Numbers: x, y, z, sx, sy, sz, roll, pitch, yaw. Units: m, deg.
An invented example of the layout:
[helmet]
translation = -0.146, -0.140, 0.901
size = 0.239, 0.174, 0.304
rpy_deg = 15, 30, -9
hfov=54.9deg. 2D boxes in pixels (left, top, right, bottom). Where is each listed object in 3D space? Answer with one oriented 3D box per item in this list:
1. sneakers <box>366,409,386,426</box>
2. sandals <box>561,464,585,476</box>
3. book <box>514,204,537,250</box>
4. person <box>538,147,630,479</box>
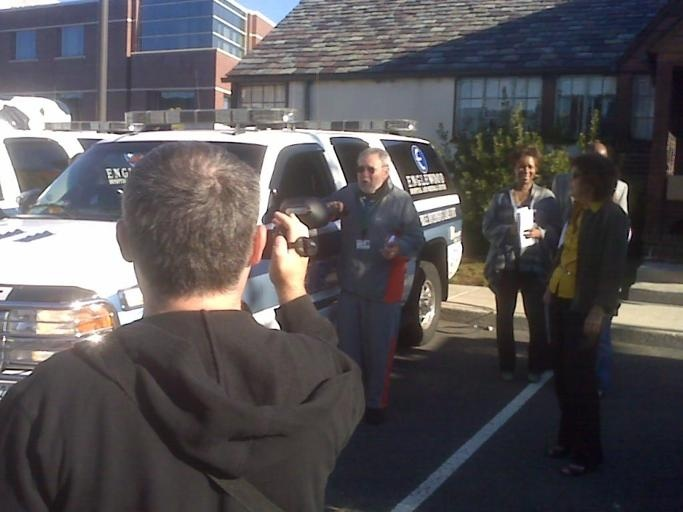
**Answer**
[sneakers]
translation = 0.262, 1.259, 5.143
size = 0.133, 0.107, 0.139
rpy_deg = 0, 3, 1
[sandals]
translation = 1.535, 1.421, 4.374
size = 0.099, 0.038, 0.077
rpy_deg = 3, 25, 28
[book]
translation = 1.595, -0.233, 5.732
size = 0.068, 0.300, 0.278
rpy_deg = 10, 13, 44
[person]
translation = 1.639, 0.376, 4.431
size = 0.468, 2.107, 0.543
rpy_deg = 3, 9, 19
